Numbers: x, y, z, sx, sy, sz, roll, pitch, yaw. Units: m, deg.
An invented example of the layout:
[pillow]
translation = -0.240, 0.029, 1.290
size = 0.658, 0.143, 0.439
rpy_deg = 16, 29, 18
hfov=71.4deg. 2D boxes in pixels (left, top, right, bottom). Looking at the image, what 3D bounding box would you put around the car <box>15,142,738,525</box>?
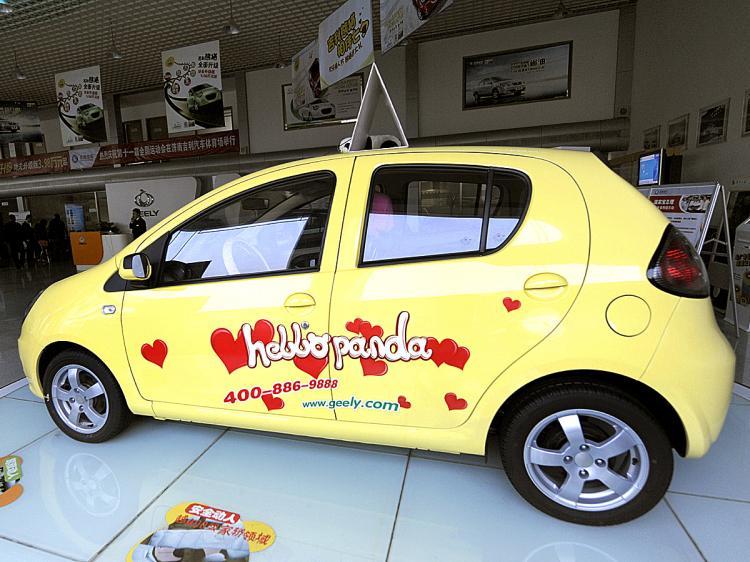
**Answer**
[car]
translation = 0.119, 0.279, 4.113
size = 3.866, 1.971, 2.185
rpy_deg = 2, 2, 11
